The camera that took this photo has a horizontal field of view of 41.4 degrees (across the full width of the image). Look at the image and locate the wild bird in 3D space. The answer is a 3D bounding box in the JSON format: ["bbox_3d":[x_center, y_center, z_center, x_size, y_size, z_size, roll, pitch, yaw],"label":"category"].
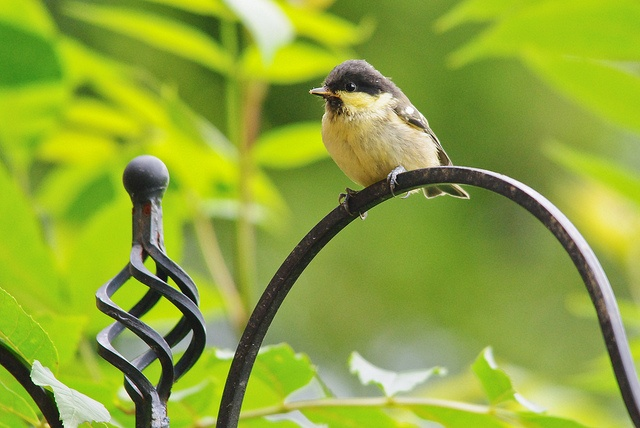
[{"bbox_3d":[0.390,-0.384,4.265,0.897,0.685,0.487,0,-9,-40],"label":"wild bird"}]
